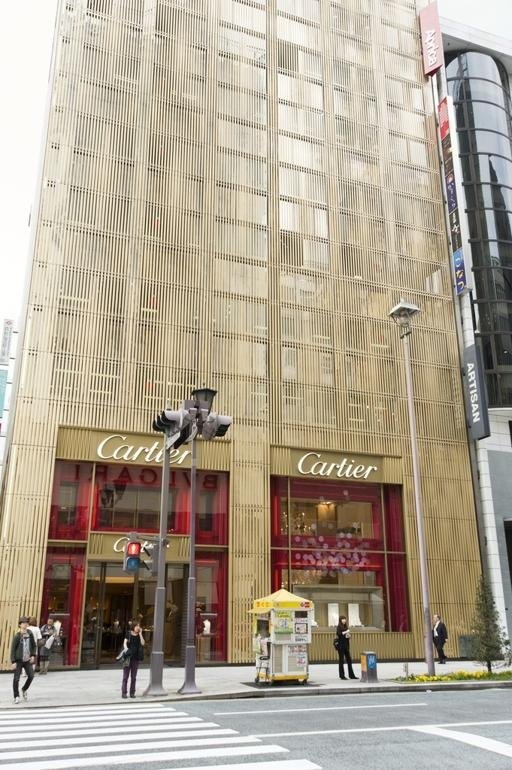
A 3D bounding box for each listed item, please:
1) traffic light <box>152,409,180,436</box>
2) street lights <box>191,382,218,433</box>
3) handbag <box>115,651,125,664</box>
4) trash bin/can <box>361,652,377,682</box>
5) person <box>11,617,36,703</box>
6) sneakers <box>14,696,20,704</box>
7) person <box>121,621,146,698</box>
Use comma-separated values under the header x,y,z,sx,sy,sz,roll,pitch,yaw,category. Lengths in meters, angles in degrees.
x,y,z,sx,sy,sz,roll,pitch,yaw,category
-2.300,0.988,15.514,0.386,0.490,1.240,2,-18,-13,traffic light
-1.212,0.507,14.302,0.758,1.238,0.845,-1,-18,0,street lights
-2.732,5.504,12.319,0.162,0.233,0.350,0,-18,-11,handbag
2.827,7.072,15.226,0.384,0.675,0.681,-4,-18,4,trash bin/can
-4.635,5.439,12.068,0.389,1.584,0.379,2,-9,-18,person
-4.570,5.991,11.542,0.087,0.130,0.183,1,-37,-11,sneakers
-2.715,5.957,13.237,0.446,1.427,2.327,0,-18,-10,person
